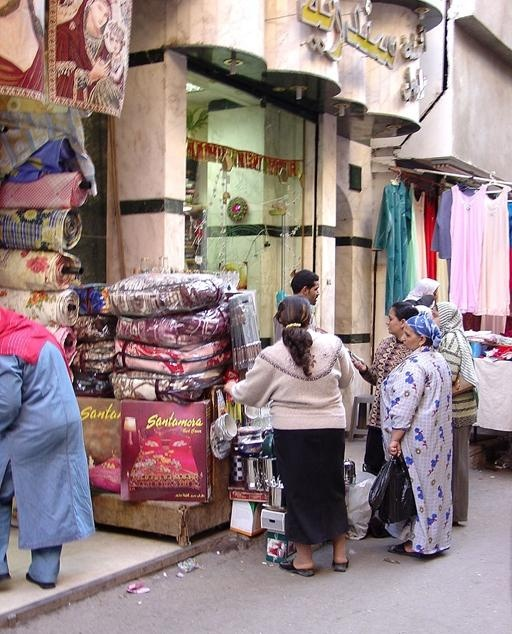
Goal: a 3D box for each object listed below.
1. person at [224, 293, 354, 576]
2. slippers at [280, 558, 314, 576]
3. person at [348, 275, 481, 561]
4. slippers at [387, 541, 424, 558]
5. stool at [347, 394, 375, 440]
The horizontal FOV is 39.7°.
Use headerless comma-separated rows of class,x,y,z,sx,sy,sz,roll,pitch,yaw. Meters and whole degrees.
person,0.254,0.603,3.967,0.544,1.505,0.585,-2,8,12
slippers,0.222,1.339,3.862,0.071,0.074,0.165,4,-6,-43
person,1.064,0.651,4.592,0.648,1.639,1.209,1,0,20
slippers,0.893,1.368,4.249,0.172,0.058,0.072,7,1,30
stool,1.180,1.128,8.142,0.359,0.656,0.396,0,0,20
